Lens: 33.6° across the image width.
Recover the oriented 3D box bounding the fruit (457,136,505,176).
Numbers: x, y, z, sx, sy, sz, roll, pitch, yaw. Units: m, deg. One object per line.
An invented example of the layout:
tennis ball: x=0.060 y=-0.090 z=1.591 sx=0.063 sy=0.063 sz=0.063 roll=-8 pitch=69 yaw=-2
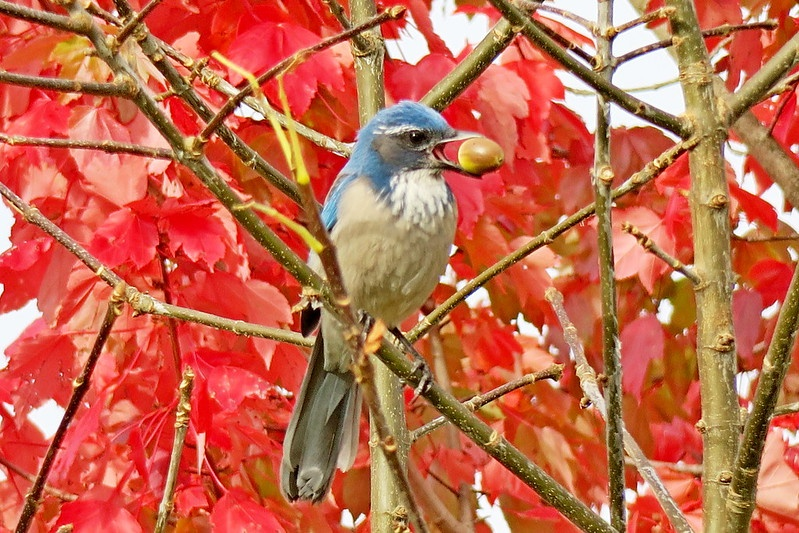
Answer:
fruit: x=0.384 y=-0.501 z=6.226 sx=0.185 sy=0.152 sz=0.154 roll=-4 pitch=-48 yaw=30
